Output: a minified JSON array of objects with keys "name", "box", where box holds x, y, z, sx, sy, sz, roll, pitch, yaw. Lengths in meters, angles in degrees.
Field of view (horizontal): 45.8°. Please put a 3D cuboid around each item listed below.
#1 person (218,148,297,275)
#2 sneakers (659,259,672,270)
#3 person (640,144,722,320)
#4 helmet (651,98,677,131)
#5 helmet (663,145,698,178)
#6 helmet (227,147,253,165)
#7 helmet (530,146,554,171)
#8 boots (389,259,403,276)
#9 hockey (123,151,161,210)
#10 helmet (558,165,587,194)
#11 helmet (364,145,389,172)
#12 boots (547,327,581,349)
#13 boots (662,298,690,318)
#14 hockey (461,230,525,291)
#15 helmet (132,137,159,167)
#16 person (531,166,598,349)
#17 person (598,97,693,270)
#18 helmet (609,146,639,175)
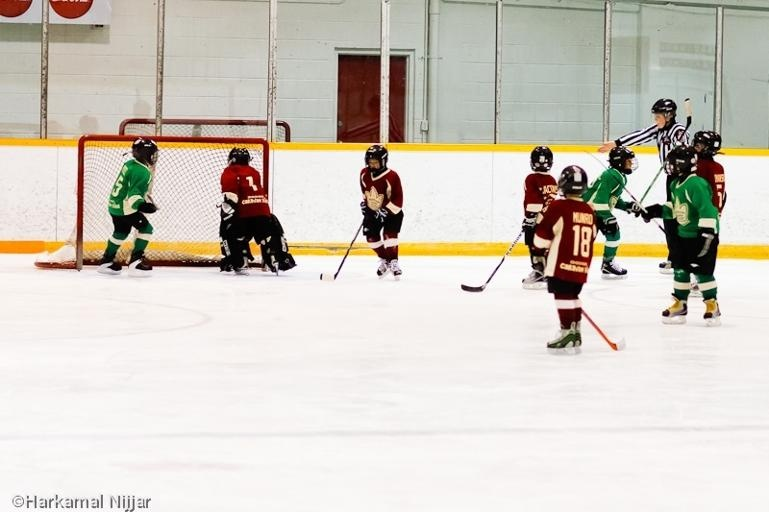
[{"name":"person","box":[-1.238,-0.406,8.616,0.667,1.180,0.378,-2,13,-7]},{"name":"sneakers","box":[2.739,0.091,8.855,0.114,0.116,0.279,2,7,14]},{"name":"person","box":[2.194,-0.163,6.461,0.414,1.186,0.558,4,13,15]},{"name":"helmet","box":[2.628,-1.330,8.530,0.192,0.264,0.269,5,13,20]},{"name":"helmet","box":[2.111,-0.676,6.577,0.248,0.221,0.190,4,7,-1]},{"name":"helmet","box":[-1.402,-0.952,8.718,0.200,0.227,0.246,0,10,-11]},{"name":"helmet","box":[1.368,-0.858,8.028,0.201,0.224,0.233,3,16,6]},{"name":"boots","box":[0.097,0.116,8.418,0.119,0.171,0.232,0,12,2]},{"name":"hockey","box":[-2.294,-0.631,8.257,0.354,0.491,0.383,-4,13,-17]},{"name":"helmet","box":[1.189,-0.487,5.823,0.162,0.180,0.193,0,22,3]},{"name":"helmet","box":[-0.077,-0.883,8.337,0.197,0.253,0.237,-1,13,-3]},{"name":"boots","box":[1.124,0.509,5.616,0.279,0.171,0.092,1,3,-3]},{"name":"boots","box":[2.068,0.369,6.475,0.165,0.144,0.246,4,13,15]},{"name":"hockey","box":[1.081,0.048,9.298,0.124,0.721,0.080,49,4,21]},{"name":"helmet","box":[-2.191,-0.939,8.259,0.204,0.231,0.274,11,15,37]},{"name":"person","box":[1.127,0.007,5.719,0.365,1.095,0.573,3,13,11]},{"name":"person","box":[2.518,-0.730,8.648,0.499,1.619,1.029,-2,2,-34]},{"name":"helmet","box":[2.220,-0.879,8.487,0.278,0.243,0.211,1,10,1]}]
